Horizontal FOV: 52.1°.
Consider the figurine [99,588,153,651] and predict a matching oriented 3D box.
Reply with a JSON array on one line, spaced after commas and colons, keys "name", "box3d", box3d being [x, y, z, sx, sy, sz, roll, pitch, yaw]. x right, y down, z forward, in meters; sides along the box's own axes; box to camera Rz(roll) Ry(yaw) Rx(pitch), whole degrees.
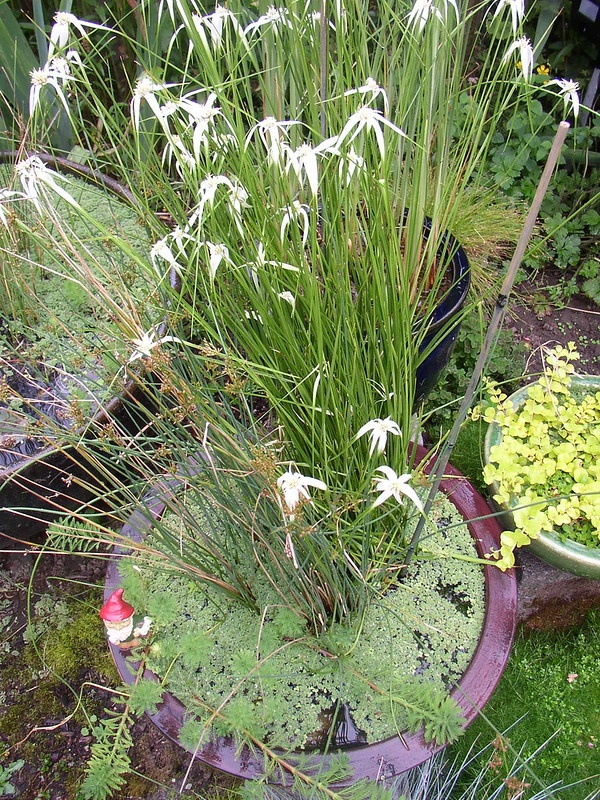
[{"name": "figurine", "box3d": [-0.354, 0.450, 1.236, 0.104, 0.142, 0.079, 32, 57, 26]}]
